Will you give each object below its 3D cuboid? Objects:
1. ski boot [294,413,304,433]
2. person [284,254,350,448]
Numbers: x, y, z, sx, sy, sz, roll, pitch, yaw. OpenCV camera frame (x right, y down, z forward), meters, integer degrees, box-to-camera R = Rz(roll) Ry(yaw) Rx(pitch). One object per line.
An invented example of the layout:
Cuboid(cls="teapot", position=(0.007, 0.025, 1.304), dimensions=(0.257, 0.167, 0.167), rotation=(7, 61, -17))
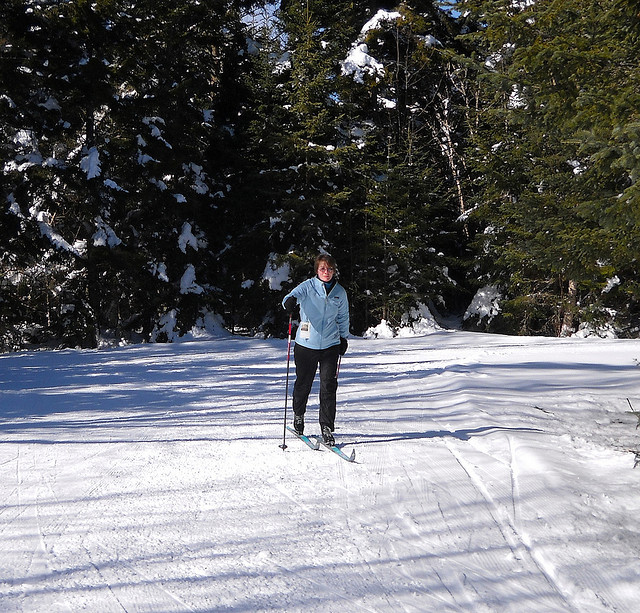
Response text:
Cuboid(cls="ski boot", position=(-0.220, 1.284, 7.338), dimensions=(0.072, 0.099, 0.223), rotation=(7, 15, -15))
Cuboid(cls="person", position=(-0.012, 0.415, 7.149), dimensions=(0.661, 1.943, 0.496), rotation=(-1, 4, 0))
